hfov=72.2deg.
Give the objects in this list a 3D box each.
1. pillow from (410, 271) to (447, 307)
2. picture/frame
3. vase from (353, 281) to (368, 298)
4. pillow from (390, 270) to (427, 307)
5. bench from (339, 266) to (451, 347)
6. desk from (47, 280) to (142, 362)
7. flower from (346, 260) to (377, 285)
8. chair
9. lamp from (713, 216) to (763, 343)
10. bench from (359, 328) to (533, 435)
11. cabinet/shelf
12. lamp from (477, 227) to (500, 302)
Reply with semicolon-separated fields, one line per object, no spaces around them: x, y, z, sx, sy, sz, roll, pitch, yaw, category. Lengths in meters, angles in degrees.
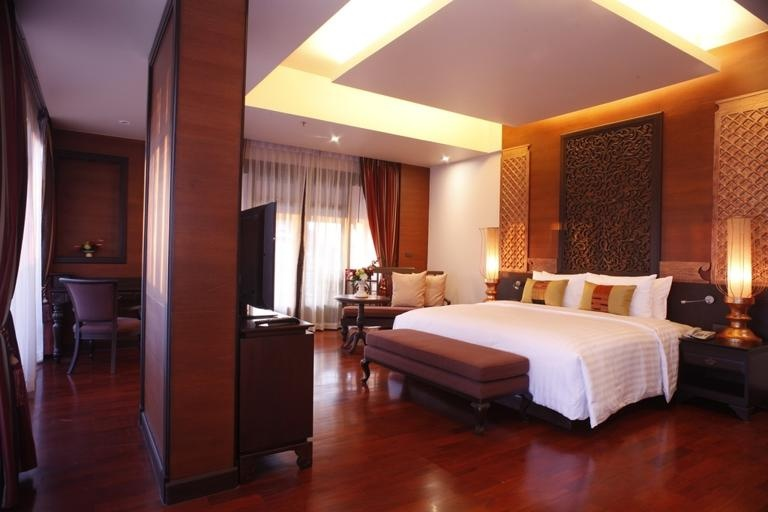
0.815;0.603;8.643;0.291;0.509;0.528;12;4;31;pillow
-4.202;-0.655;7.535;0.965;1.742;0.139;1;20;-30;picture/frame
-0.365;0.504;7.984;0.226;0.246;0.225;0;1;-15;vase
0.387;0.517;8.350;0.534;0.528;0.193;4;-20;5;pillow
0.113;0.730;7.533;1.169;0.745;0.415;1;-6;-13;bench
-3.718;0.792;7.228;1.417;1.046;0.786;2;-4;-32;desk
-0.371;0.292;8.447;0.406;0.245;0.365;-19;-27;23;flower
-3.369;0.793;6.371;0.809;1.093;0.861;0;0;-12;chair
3.815;0.256;5.538;0.364;1.284;0.601;4;14;14;lamp
0.617;1.177;5.477;1.679;0.601;0.638;13;17;42;bench
-0.887;1.179;4.263;0.559;1.220;1.430;-1;0;-28;cabinet/shelf
1.590;0.097;7.951;0.250;1.054;0.388;2;13;5;lamp
